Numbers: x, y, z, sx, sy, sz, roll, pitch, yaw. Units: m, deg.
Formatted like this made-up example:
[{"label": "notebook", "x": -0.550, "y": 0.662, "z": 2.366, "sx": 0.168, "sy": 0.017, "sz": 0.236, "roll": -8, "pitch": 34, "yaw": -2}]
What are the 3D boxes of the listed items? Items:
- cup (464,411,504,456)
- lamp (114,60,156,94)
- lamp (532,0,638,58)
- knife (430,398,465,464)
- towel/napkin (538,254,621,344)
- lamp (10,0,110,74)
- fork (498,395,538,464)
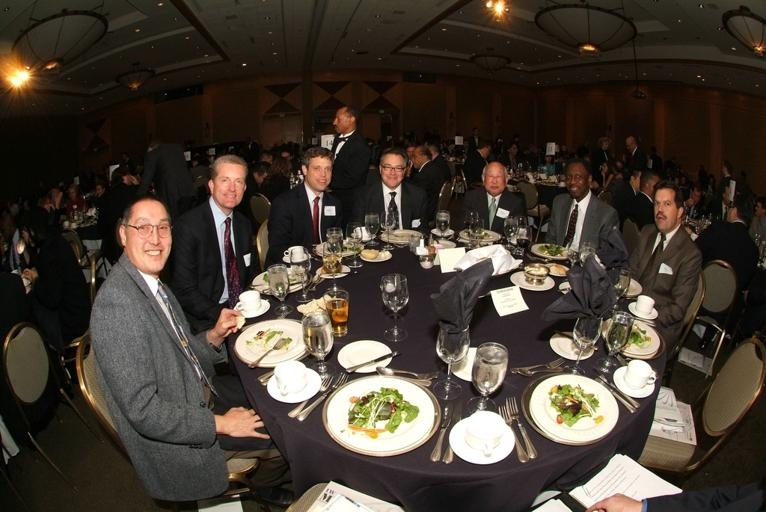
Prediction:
[{"label": "cup", "x": 0.534, "y": 0.915, "z": 2.659, "sx": 0.162, "sy": 0.136, "sz": 0.215, "roll": 2, "pitch": 35, "yaw": 4}, {"label": "lamp", "x": -6.038, "y": -4.345, "z": 12.268, "sx": 0.714, "sy": 0.534, "sz": 0.706, "roll": -23, "pitch": 14, "yaw": -37}, {"label": "lamp", "x": 4.220, "y": -4.709, "z": 10.480, "sx": 2.467, "sy": 0.666, "sz": 1.630, "roll": -10, "pitch": 16, "yaw": -29}, {"label": "knife", "x": 0.341, "y": 0.934, "z": 2.721, "sx": 0.106, "sy": 0.016, "sz": 0.350, "roll": 7, "pitch": 41, "yaw": 16}, {"label": "towel/napkin", "x": 1.260, "y": 0.208, "z": 3.096, "sx": 0.484, "sy": 0.270, "sz": 0.602, "roll": -30, "pitch": 11, "yaw": -24}, {"label": "lamp", "x": -5.355, "y": -3.575, "z": 8.455, "sx": 0.986, "sy": 1.004, "sz": 2.251, "roll": -4, "pitch": 14, "yaw": -6}, {"label": "fork", "x": 0.726, "y": 0.940, "z": 2.712, "sx": 0.092, "sy": 0.048, "sz": 0.370, "roll": -7, "pitch": 51, "yaw": -5}]
